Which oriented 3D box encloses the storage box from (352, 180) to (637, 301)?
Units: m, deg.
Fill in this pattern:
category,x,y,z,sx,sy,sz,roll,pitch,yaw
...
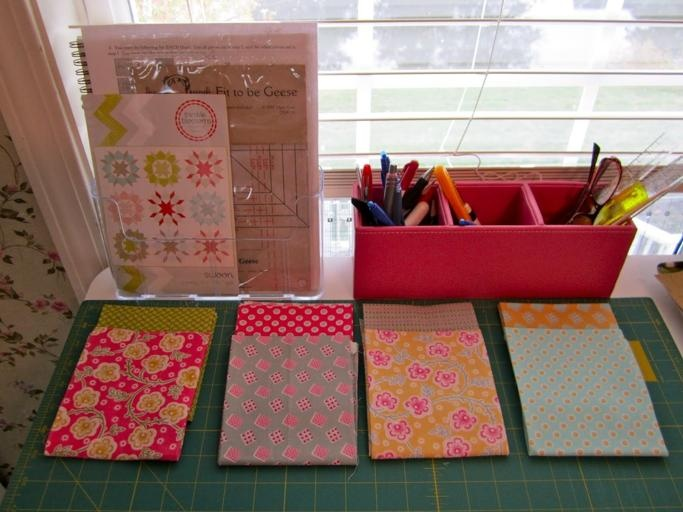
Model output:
category,x,y,z,sx,sy,sz,roll,pitch,yaw
storage box,0.323,-0.035,1.143,0.594,0.212,0.220,1,38,-1
